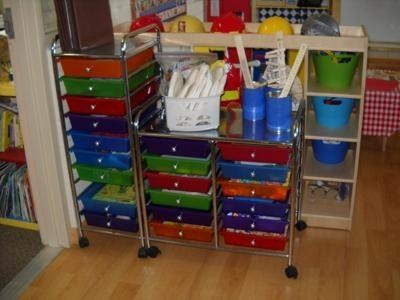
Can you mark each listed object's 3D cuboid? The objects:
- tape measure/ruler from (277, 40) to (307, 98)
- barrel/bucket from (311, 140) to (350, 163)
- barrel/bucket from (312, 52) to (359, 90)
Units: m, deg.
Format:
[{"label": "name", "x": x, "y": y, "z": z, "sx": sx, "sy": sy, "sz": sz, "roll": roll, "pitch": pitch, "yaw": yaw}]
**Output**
[{"label": "tape measure/ruler", "x": 0.492, "y": -0.443, "z": 1.990, "sx": 0.139, "sy": 0.271, "sz": 0.195, "roll": 4, "pitch": 31, "yaw": 9}, {"label": "barrel/bucket", "x": 0.912, "y": 0.011, "z": 2.526, "sx": 0.180, "sy": 0.130, "sz": 0.187, "roll": -1, "pitch": 15, "yaw": 0}, {"label": "barrel/bucket", "x": 0.849, "y": -0.499, "z": 2.350, "sx": 0.232, "sy": 0.256, "sz": 0.282, "roll": 7, "pitch": 30, "yaw": 12}]
